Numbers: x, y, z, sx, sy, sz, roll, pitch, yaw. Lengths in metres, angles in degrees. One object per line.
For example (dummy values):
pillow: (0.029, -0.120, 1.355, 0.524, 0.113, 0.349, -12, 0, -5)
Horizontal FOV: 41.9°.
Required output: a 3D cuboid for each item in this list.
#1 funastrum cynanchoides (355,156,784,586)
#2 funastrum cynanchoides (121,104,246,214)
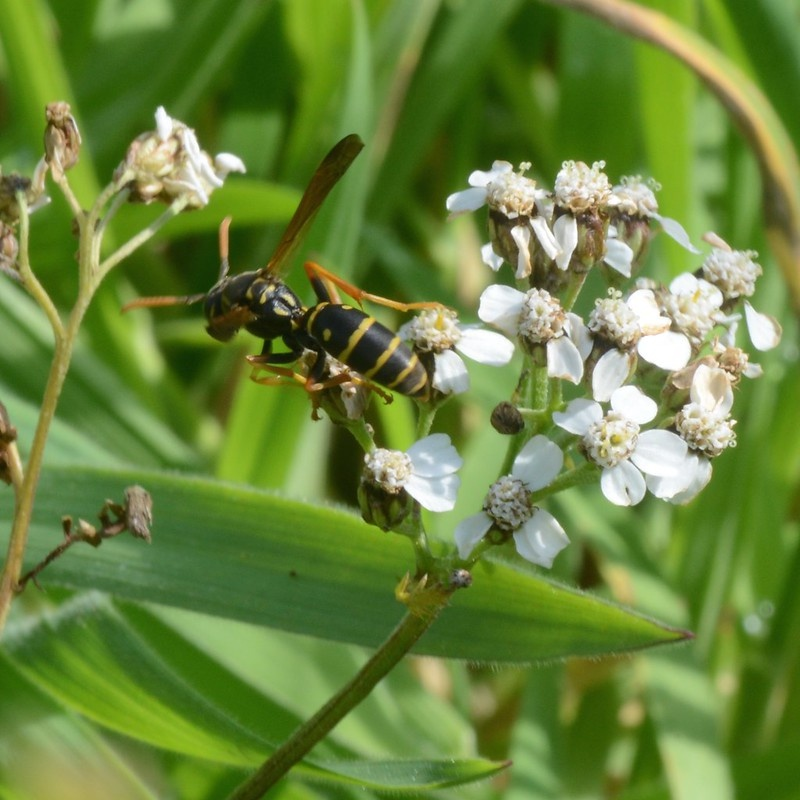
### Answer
funastrum cynanchoides: (0.231, -0.053, 1.354, 0.510, 0.513, 0.358, 9, 9, -1)
funastrum cynanchoides: (-0.272, -0.313, 1.346, 0.166, 0.125, 0.092, -4, 21, 10)
